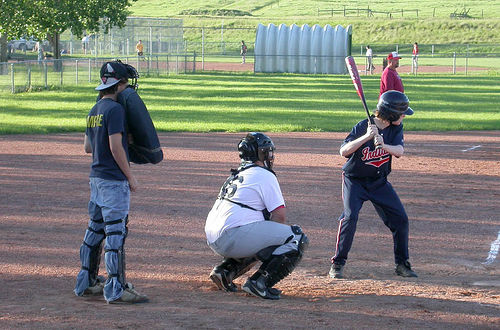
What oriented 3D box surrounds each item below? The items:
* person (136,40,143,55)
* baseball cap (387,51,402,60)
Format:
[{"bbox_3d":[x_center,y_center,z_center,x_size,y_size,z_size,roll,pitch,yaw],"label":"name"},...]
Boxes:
[{"bbox_3d":[-6.812,-7.336,70.312,0.346,0.883,1.169,-2,8,-6],"label":"person"},{"bbox_3d":[5.697,-4.266,43.870,0.464,0.211,0.272,1,20,-8],"label":"baseball cap"}]
